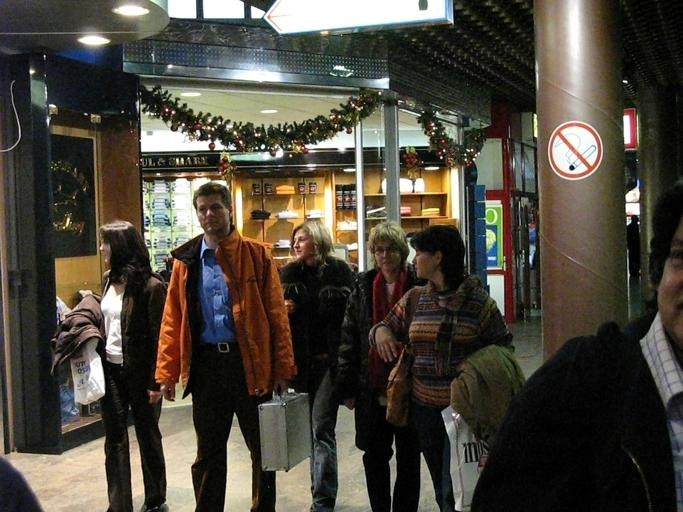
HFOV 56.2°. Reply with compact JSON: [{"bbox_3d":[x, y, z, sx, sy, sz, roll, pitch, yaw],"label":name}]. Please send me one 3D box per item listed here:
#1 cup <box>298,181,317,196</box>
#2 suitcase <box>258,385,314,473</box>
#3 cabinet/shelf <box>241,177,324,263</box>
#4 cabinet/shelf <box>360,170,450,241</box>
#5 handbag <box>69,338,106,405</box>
[{"bbox_3d":[-0.455,-0.921,8.689,0.081,0.181,0.412,-5,7,-35],"label":"cup"},{"bbox_3d":[-0.312,0.966,3.466,0.205,0.446,0.337,0,5,18],"label":"suitcase"},{"bbox_3d":[-0.728,-0.560,9.122,1.222,1.269,0.445,1,15,26],"label":"cabinet/shelf"},{"bbox_3d":[0.750,-0.634,7.705,1.028,1.061,0.314,0,-2,-4],"label":"cabinet/shelf"},{"bbox_3d":[-1.527,0.692,3.838,0.209,0.379,0.236,-3,5,-16],"label":"handbag"}]
